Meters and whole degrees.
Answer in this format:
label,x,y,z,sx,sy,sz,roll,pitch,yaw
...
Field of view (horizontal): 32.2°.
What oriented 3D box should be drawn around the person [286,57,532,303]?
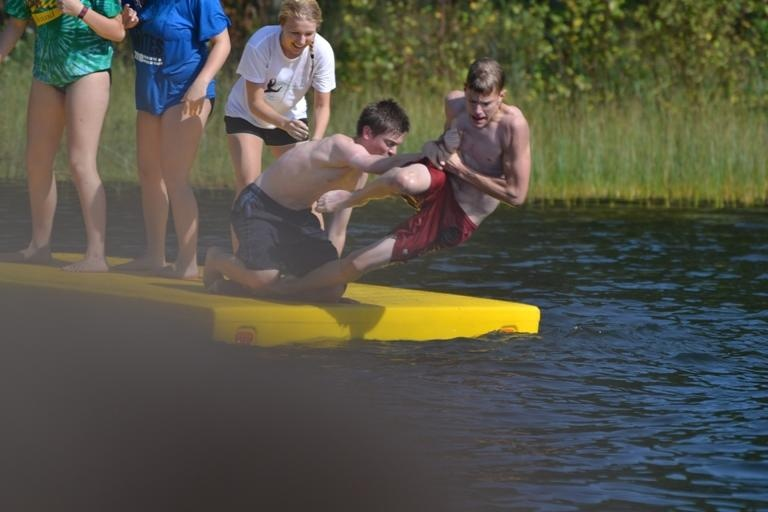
label,x,y,z,sx,sy,sz,roll,pitch,yaw
person,-0.013,-0.491,8.910,2.017,1.131,0.880,-15,15,-24
